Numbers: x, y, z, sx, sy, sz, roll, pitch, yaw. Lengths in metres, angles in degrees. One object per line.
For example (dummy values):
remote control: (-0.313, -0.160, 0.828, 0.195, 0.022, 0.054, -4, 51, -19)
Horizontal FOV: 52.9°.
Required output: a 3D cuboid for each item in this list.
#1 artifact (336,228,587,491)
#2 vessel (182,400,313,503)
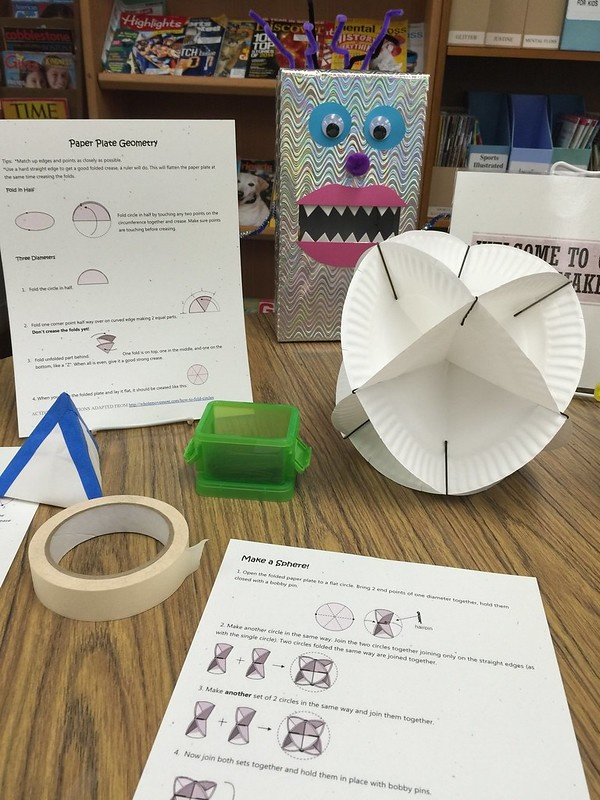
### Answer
artifact: (0.156, -0.032, 0.584, 0.237, 0.220, 0.107, 4, 24, 3)
vessel: (-0.054, 0.044, 0.634, 0.129, 0.064, 0.118, 4, 25, 3)
